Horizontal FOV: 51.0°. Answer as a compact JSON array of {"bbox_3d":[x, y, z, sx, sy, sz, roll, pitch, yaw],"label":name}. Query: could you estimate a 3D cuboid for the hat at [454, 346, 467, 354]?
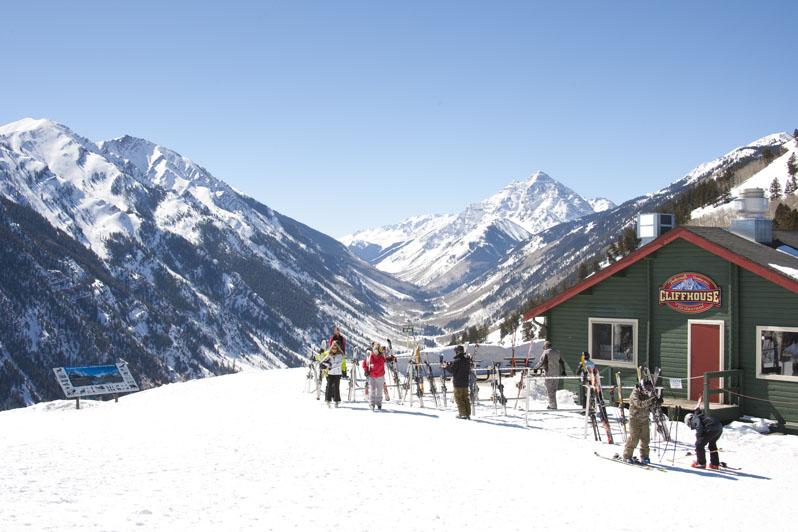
[{"bbox_3d":[2.824,3.816,38.200,0.330,0.346,0.373,-1,-2,-25],"label":"hat"}]
